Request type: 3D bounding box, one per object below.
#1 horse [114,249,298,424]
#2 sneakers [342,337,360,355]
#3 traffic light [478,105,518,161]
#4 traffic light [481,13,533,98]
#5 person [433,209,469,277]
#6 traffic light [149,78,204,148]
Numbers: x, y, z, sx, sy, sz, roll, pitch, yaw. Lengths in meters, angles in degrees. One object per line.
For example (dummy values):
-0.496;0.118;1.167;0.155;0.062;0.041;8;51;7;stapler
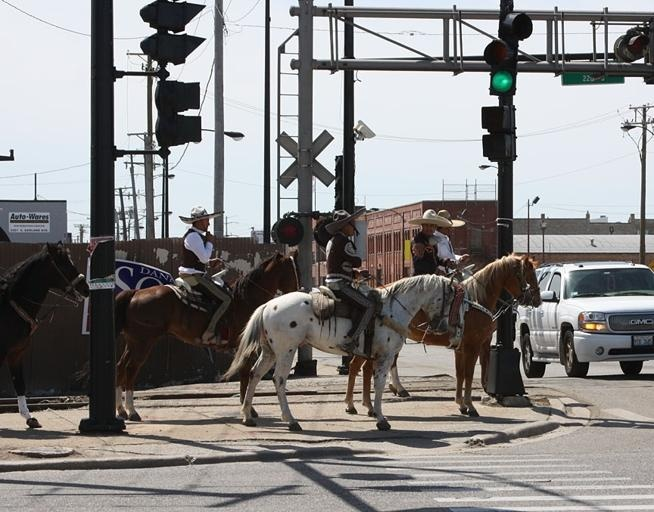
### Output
-1.962;1.340;22.922;3.643;2.795;0.919;-1;0;-11;horse
0.384;1.413;21.310;0.259;0.282;0.288;0;-1;11;sneakers
2.938;-2.081;23.210;0.581;0.958;0.318;0;-1;-5;traffic light
3.089;-3.482;23.243;0.813;1.490;0.659;0;-1;-1;traffic light
2.124;-0.101;23.637;0.712;1.264;0.763;-7;6;-14;person
-2.199;-2.100;20.128;0.661;0.988;0.404;0;-1;-9;traffic light
